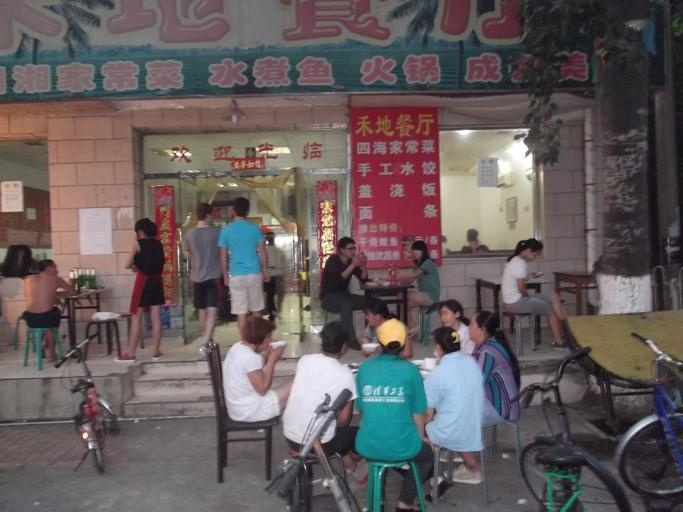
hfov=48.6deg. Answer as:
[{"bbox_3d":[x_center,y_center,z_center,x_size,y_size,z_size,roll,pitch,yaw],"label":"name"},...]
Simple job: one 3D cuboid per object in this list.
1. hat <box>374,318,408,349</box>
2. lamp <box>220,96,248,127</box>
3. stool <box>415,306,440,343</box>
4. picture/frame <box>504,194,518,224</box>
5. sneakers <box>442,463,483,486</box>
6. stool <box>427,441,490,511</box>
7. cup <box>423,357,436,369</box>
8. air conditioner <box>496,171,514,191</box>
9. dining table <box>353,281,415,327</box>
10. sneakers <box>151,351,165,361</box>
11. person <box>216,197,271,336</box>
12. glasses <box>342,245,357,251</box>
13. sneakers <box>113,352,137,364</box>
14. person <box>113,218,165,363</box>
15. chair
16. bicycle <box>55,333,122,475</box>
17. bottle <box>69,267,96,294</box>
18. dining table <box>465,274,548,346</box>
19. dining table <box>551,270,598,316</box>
[{"bbox_3d":[0.457,0.716,7.030,0.272,0.137,0.351,-3,43,5],"label":"hat"},{"bbox_3d":[-1.434,-1.955,10.372,0.355,0.388,0.328,5,19,15],"label":"lamp"},{"bbox_3d":[1.091,0.918,10.282,0.432,0.409,0.383,15,-3,5],"label":"stool"},{"bbox_3d":[2.482,-0.659,10.979,0.195,0.390,0.037,-3,0,-18],"label":"picture/frame"},{"bbox_3d":[1.206,2.135,7.436,0.379,0.173,0.138,2,0,21],"label":"sneakers"},{"bbox_3d":[1.120,2.026,7.231,0.565,0.591,0.981,-3,0,10],"label":"stool"},{"bbox_3d":[0.871,1.054,7.452,0.102,0.074,0.094,-4,4,0],"label":"cup"},{"bbox_3d":[2.384,-1.080,10.962,0.213,0.253,0.385,0,1,14],"label":"air conditioner"},{"bbox_3d":[0.607,0.631,10.092,0.624,0.550,0.597,-1,2,-2],"label":"dining table"},{"bbox_3d":[-2.326,1.263,9.519,0.064,0.067,0.173,1,2,13],"label":"sneakers"},{"bbox_3d":[-1.246,0.216,9.534,0.639,1.853,0.538,-6,11,-21],"label":"person"},{"bbox_3d":[0.098,-0.095,10.094,0.099,0.106,0.106,13,1,-42],"label":"glasses"},{"bbox_3d":[-2.719,1.271,9.460,0.216,0.085,0.129,6,-9,-6],"label":"sneakers"},{"bbox_3d":[-2.595,0.403,9.688,0.635,1.817,0.574,-3,0,-13],"label":"person"},{"bbox_3d":[-0.979,1.638,7.689,0.727,1.165,0.688,7,-5,1],"label":"chair"},{"bbox_3d":[-2.701,1.501,8.004,0.563,1.409,0.944,-3,0,-19],"label":"bicycle"},{"bbox_3d":[-3.578,0.316,10.459,0.404,0.373,0.295,1,6,-8],"label":"bottle"},{"bbox_3d":[2.287,0.624,10.382,0.876,1.031,1.065,-1,3,-12],"label":"dining table"},{"bbox_3d":[3.283,0.455,10.409,0.651,0.572,0.632,-3,6,-27],"label":"dining table"}]
